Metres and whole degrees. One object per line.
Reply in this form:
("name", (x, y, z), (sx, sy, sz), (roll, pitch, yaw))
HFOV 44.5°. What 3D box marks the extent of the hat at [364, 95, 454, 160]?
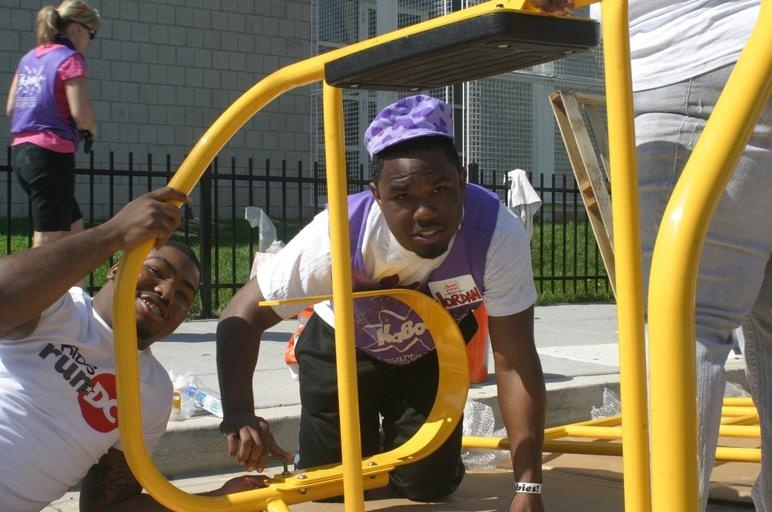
("hat", (0.083, -0.489, 3.425), (0.209, 0.144, 0.274), (3, 37, 45))
